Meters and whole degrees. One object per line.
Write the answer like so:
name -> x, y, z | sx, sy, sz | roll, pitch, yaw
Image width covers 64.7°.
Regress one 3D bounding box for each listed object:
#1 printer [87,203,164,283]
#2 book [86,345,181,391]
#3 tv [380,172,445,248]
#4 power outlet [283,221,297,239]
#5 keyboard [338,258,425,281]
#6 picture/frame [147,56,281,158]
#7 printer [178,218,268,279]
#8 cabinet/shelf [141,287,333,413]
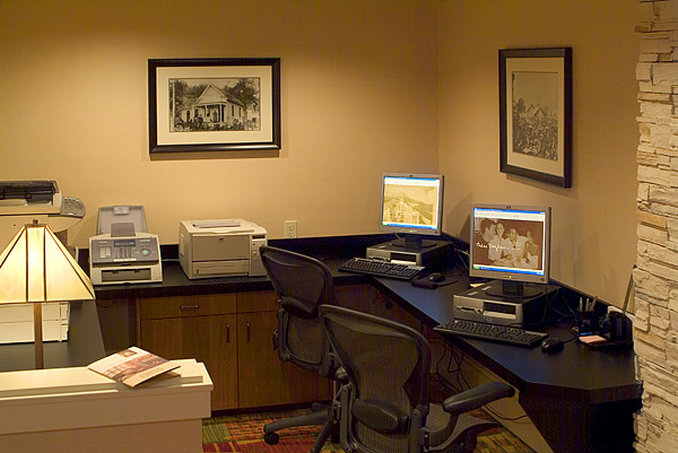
printer -> -1.696, 0.117, 4.236 | 0.507, 0.262, 0.708 | 0, 36, -25
book -> -0.893, 0.611, 2.353 | 0.370, 0.061, 0.236 | 9, 16, 26
tv -> 0.597, -0.136, 4.360 | 0.593, 0.636, 0.231 | 2, 2, 21
power outlet -> -0.439, 0.021, 4.731 | 0.153, 0.204, 0.021 | 0, 3, -11
keyboard -> 0.321, 0.319, 4.158 | 0.425, 0.060, 0.168 | 3, 28, 45
picture/frame -> -1.090, -1.027, 4.482 | 0.854, 0.619, 0.023 | -1, 7, -9
printer -> -0.950, 0.159, 4.378 | 0.642, 0.374, 0.489 | 1, 13, -17
cabinet/shelf -> -0.749, 0.972, 4.552 | 1.427, 0.968, 0.822 | -1, 2, 4
